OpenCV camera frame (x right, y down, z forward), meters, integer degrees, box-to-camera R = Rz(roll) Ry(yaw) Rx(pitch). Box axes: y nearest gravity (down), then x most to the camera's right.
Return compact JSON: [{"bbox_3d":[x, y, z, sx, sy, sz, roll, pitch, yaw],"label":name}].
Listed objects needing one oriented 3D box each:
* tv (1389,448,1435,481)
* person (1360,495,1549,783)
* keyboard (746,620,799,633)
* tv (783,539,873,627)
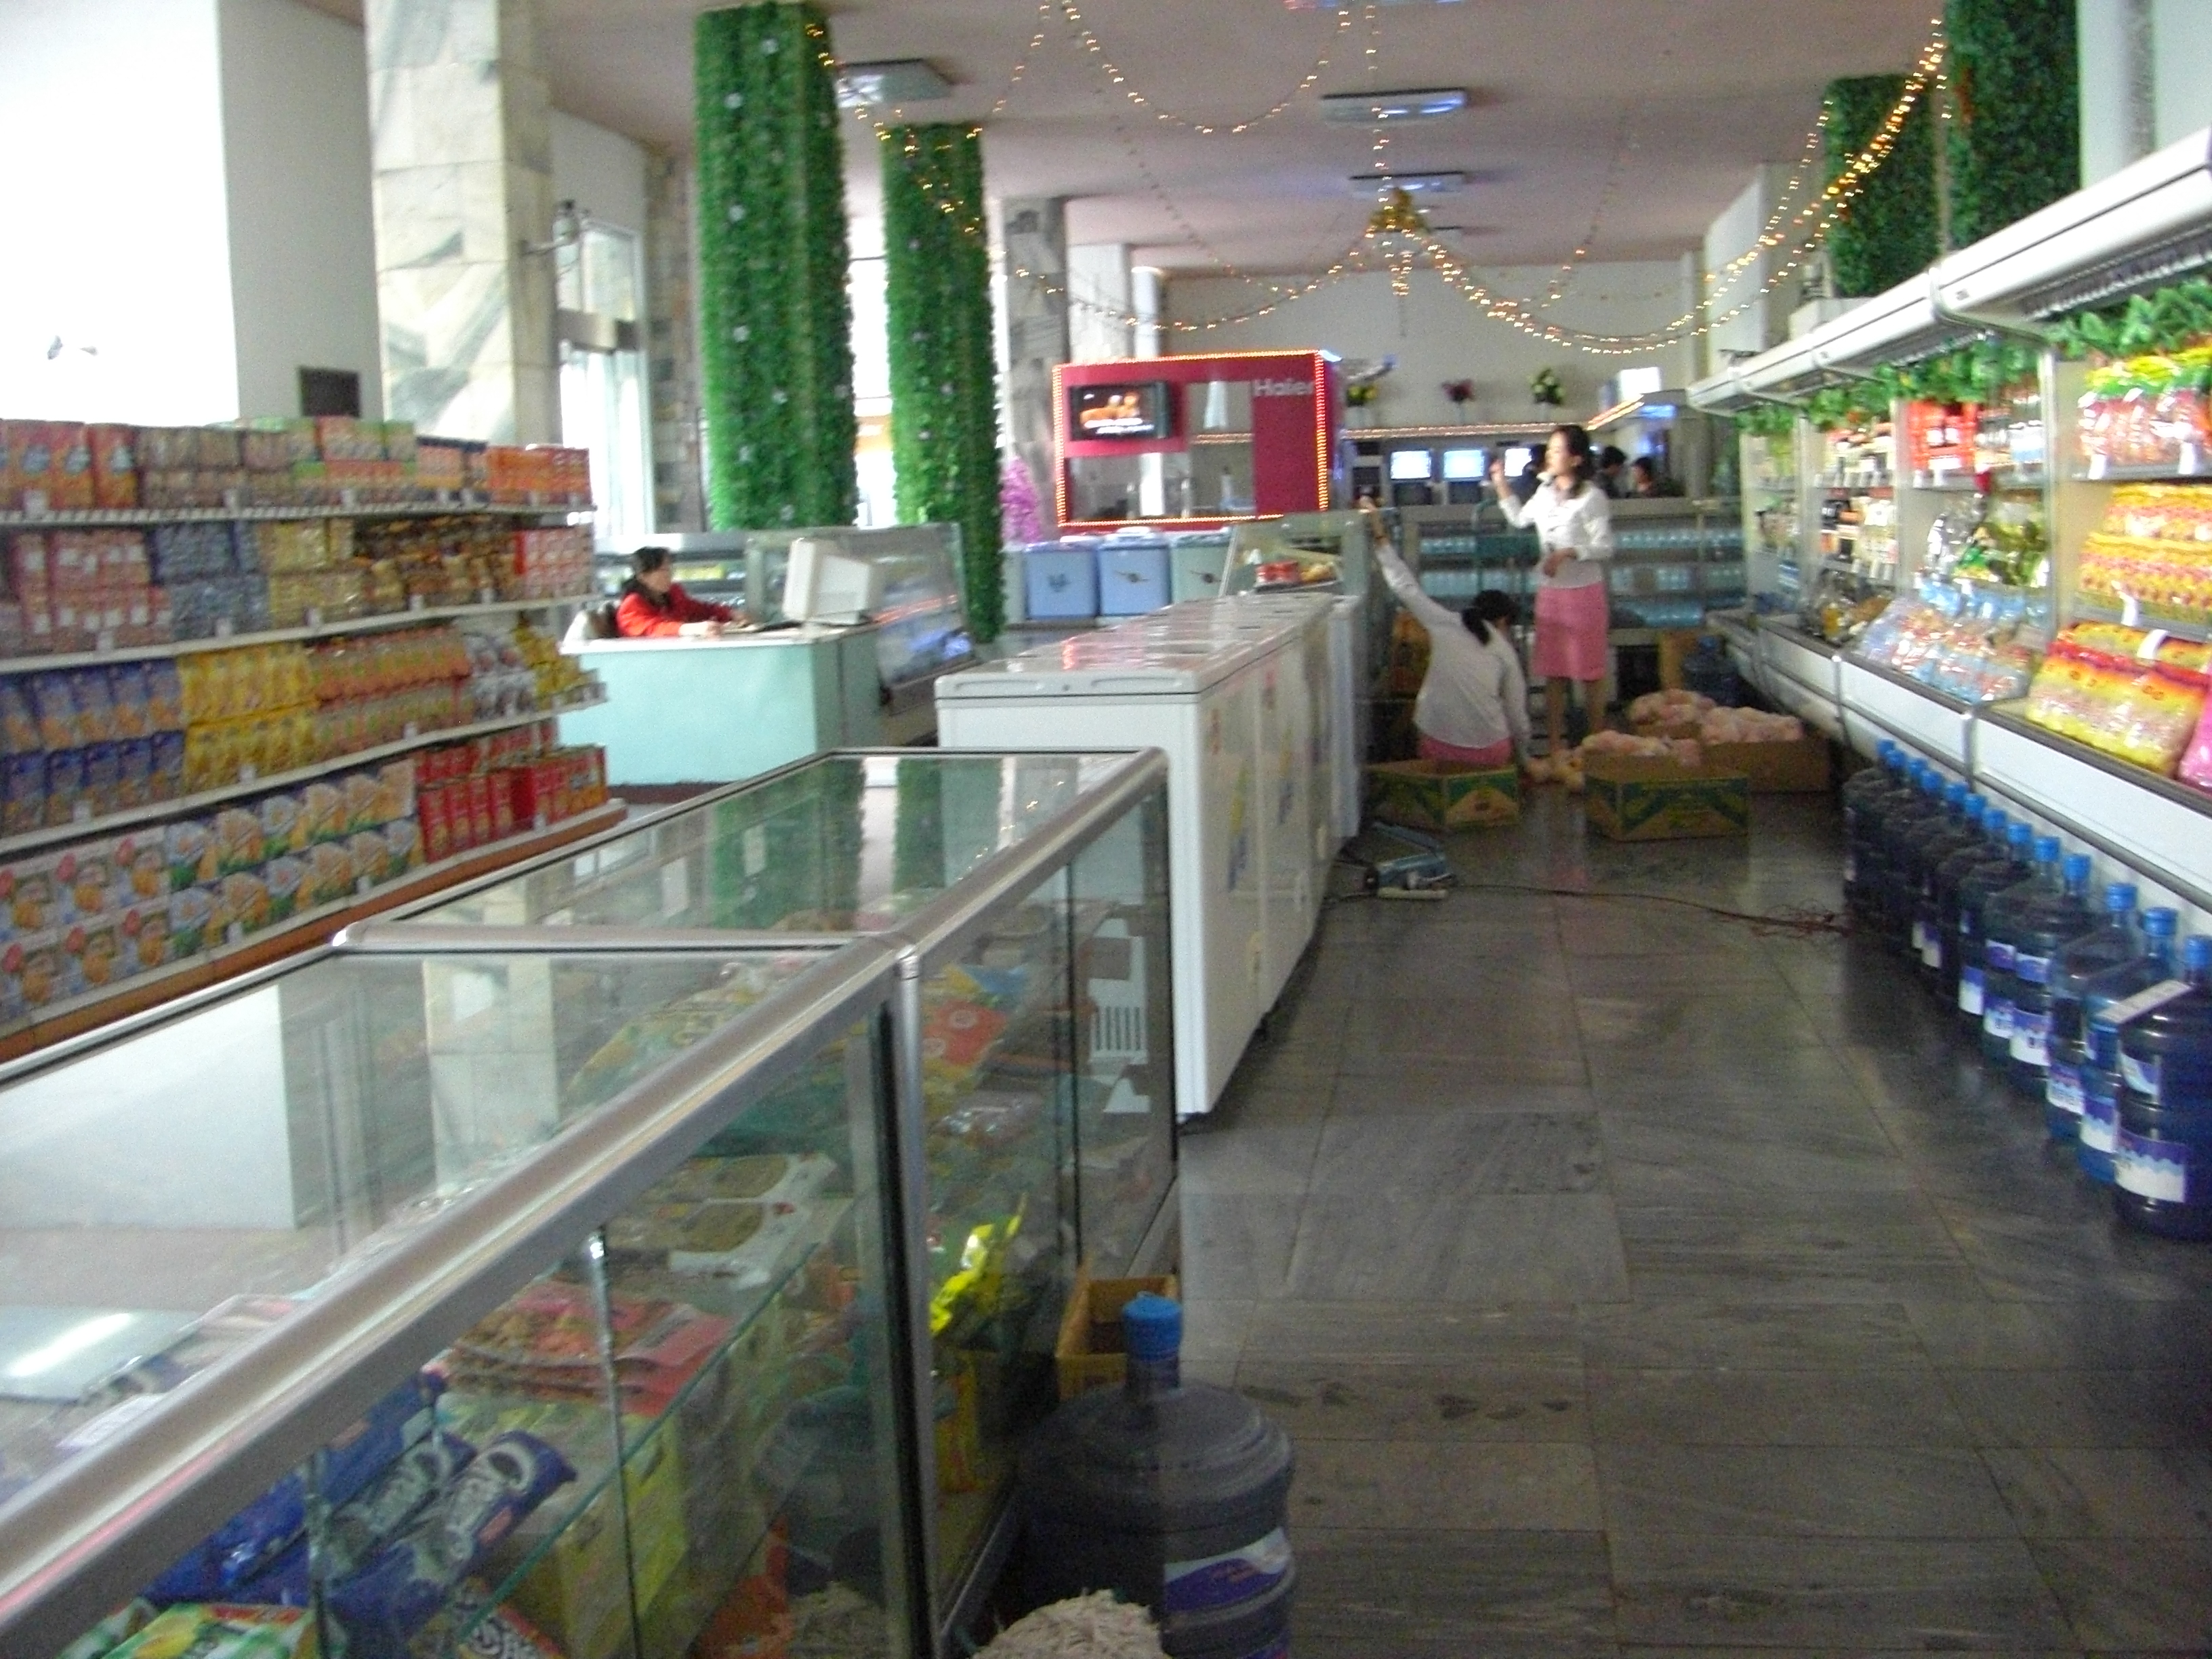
[{"bbox_3d":[4.373,-5.283,23.853,0.846,0.442,0.396,2,26,2],"label":"tv"},{"bbox_3d":[1.843,-0.917,8.735,0.759,1.273,1.414,-3,13,9],"label":"person"},{"bbox_3d":[-1.750,-1.087,8.779,0.270,0.039,0.376,-6,11,-14],"label":"keyboard"},{"bbox_3d":[-1.547,-1.363,9.183,0.366,0.406,0.641,6,7,12],"label":"tv"}]
